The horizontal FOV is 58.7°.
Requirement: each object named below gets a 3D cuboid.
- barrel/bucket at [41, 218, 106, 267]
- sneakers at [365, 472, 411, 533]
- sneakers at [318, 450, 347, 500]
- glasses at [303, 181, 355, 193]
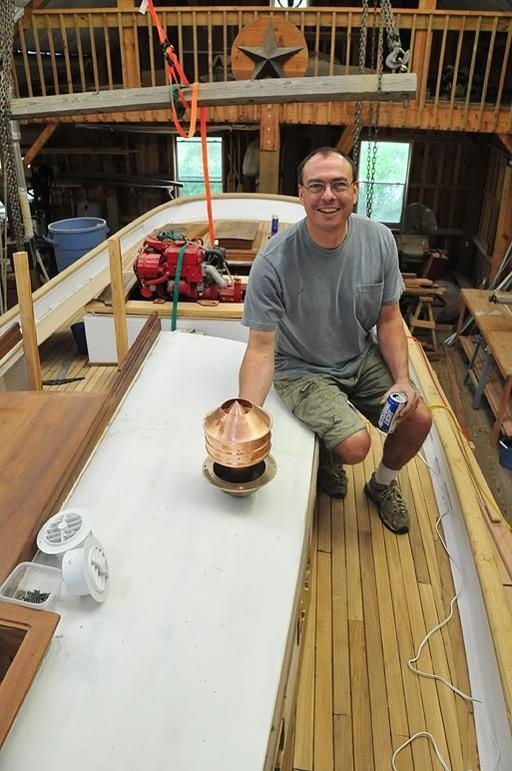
[{"bbox_3d":[-2.654,-2.131,6.917,0.764,0.697,0.800,1,29,-1],"label":"barrel/bucket"},{"bbox_3d":[0.567,0.493,2.041,0.127,0.126,0.279,-10,42,-18],"label":"sneakers"},{"bbox_3d":[0.389,0.427,2.180,0.129,0.221,0.327,6,3,3],"label":"sneakers"},{"bbox_3d":[0.242,-0.670,1.523,0.145,0.041,0.047,6,30,7],"label":"glasses"}]
